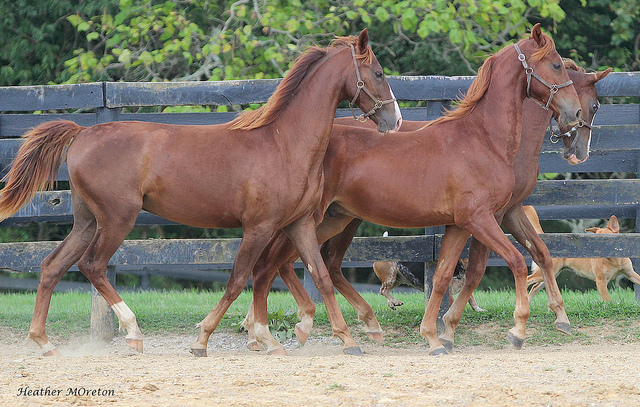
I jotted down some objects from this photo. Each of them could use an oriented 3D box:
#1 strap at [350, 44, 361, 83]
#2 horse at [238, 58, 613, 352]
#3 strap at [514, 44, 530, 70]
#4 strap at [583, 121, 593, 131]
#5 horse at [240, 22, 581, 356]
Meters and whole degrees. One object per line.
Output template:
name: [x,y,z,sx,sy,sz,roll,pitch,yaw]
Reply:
strap: [0.465,-1.812,16.075,0.067,0.618,0.089,-8,3,5]
horse: [1.311,0.070,17.249,5.347,3.866,1.293,-4,-7,26]
strap: [2.657,-1.898,16.260,0.086,0.443,0.047,-29,-17,8]
strap: [3.583,-1.058,16.617,0.136,0.042,0.099,42,-2,10]
horse: [1.191,-0.116,16.879,4.815,4.650,1.483,0,-2,7]
